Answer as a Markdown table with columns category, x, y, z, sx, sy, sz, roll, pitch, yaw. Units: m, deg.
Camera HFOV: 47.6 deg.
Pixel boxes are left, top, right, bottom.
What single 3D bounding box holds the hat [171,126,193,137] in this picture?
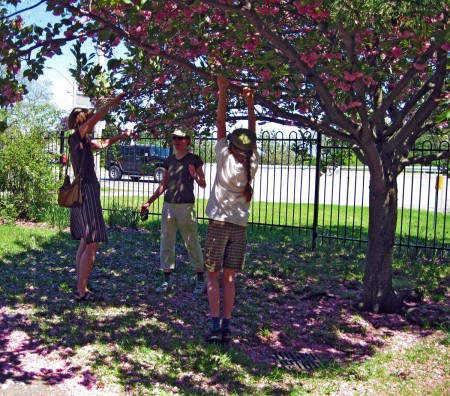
| category | x | y | z | sx | sy | sz | roll | pitch | yaw |
| --- | --- | --- | --- | --- | --- | --- | --- | --- | --- |
| hat | -0.568 | -0.897 | 6.872 | 0.291 | 0.133 | 0.225 | 0 | 9 | -17 |

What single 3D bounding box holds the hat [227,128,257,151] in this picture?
| category | x | y | z | sx | sy | sz | roll | pitch | yaw |
| --- | --- | --- | --- | --- | --- | --- | --- | --- | --- |
| hat | 0.187 | -0.636 | 5.511 | 0.299 | 0.241 | 0.226 | 2 | 8 | -1 |

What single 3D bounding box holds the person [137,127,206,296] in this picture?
| category | x | y | z | sx | sy | sz | roll | pitch | yaw |
| --- | --- | --- | --- | --- | --- | --- | --- | --- | --- |
| person | -0.657 | 0.146 | 7.047 | 0.829 | 2.224 | 0.514 | 1 | 7 | -1 |

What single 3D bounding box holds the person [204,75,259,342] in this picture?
| category | x | y | z | sx | sy | sz | roll | pitch | yaw |
| --- | --- | --- | --- | --- | --- | --- | --- | --- | --- |
| person | 0.067 | 0.223 | 5.553 | 0.535 | 2.679 | 0.385 | 2 | 6 | 3 |

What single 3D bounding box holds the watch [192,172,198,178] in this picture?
| category | x | y | z | sx | sy | sz | roll | pitch | yaw |
| --- | --- | --- | --- | --- | --- | --- | --- | --- | --- |
| watch | -0.398 | -0.307 | 6.859 | 0.044 | 0.076 | 0.069 | 0 | -1 | -8 |

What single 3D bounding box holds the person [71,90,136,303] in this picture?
| category | x | y | z | sx | sy | sz | roll | pitch | yaw |
| --- | --- | --- | --- | --- | --- | --- | --- | --- | --- |
| person | -1.653 | -0.033 | 6.481 | 0.810 | 2.613 | 0.556 | 7 | 8 | 37 |

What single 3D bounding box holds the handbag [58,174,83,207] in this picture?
| category | x | y | z | sx | sy | sz | roll | pitch | yaw |
| --- | --- | --- | --- | --- | --- | --- | --- | --- | --- |
| handbag | -1.914 | -0.090 | 6.287 | 0.319 | 0.447 | 0.136 | -6 | -17 | 20 |
